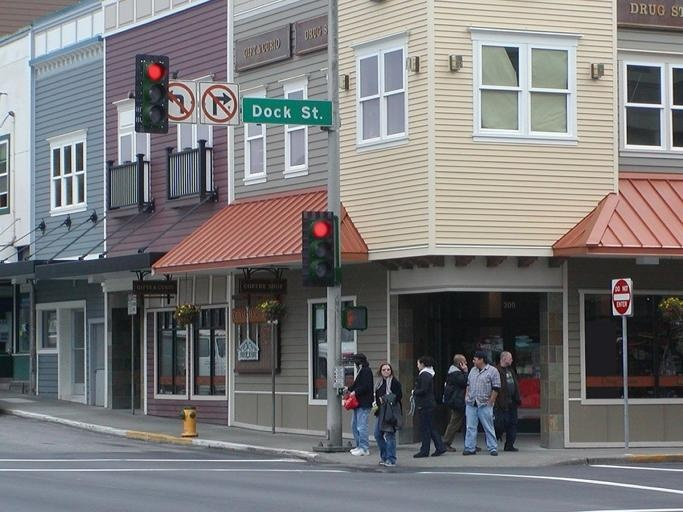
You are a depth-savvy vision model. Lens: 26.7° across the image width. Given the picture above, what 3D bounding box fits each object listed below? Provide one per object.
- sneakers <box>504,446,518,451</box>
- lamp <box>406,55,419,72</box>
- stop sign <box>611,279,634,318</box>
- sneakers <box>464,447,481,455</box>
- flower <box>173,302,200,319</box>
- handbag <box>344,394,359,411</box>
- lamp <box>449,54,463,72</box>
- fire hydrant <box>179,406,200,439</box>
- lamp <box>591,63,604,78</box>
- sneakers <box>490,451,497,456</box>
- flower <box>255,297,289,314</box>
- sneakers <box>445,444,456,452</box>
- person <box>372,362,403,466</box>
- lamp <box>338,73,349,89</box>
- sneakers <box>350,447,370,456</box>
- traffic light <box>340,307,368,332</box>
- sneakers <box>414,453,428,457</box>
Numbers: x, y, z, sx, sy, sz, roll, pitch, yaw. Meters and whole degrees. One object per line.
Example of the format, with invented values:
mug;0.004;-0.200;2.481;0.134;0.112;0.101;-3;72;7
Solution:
sneakers;3.806;4.296;32.010;0.383;0.094;0.159;10;-5;-40
lamp;1.638;-4.295;32.266;0.315;0.451;0.331;-1;1;-14
stop sign;6.140;0.896;31.311;0.323;0.817;0.682;8;-4;-19
sneakers;2.899;4.302;31.660;0.154;0.190;0.461;-1;-11;34
flower;-4.131;1.445;38.077;0.382;0.267;0.479;5;-12;-27
handbag;0.231;3.170;31.309;0.175;0.340;0.344;-9;-9;34
lamp;2.582;-4.290;32.156;0.336;0.391;0.185;7;-4;-5
fire hydrant;-3.647;3.995;34.681;0.635;0.897;0.583;2;-6;-7
lamp;5.823;-4.211;32.729;0.328;0.314;0.164;3;-2;-34
sneakers;3.329;4.288;31.285;0.168;0.108;0.219;6;-4;7
flower;-1.753;1.209;35.418;0.457;0.256;0.480;-2;-6;14
sneakers;2.494;4.278;32.116;0.316;0.221;0.111;-3;-3;10
person;0.979;3.371;30.458;0.581;1.374;0.833;6;-4;0
lamp;0.015;-4.084;33.829;0.313;0.394;0.263;0;-1;-29
sneakers;0.411;4.265;31.324;0.424;0.181;0.155;5;0;-7
traffic light;0.309;1.352;31.486;0.616;0.340;0.363;8;-4;-17
sneakers;1.736;4.344;31.342;0.215;0.084;0.113;3;-7;-2
